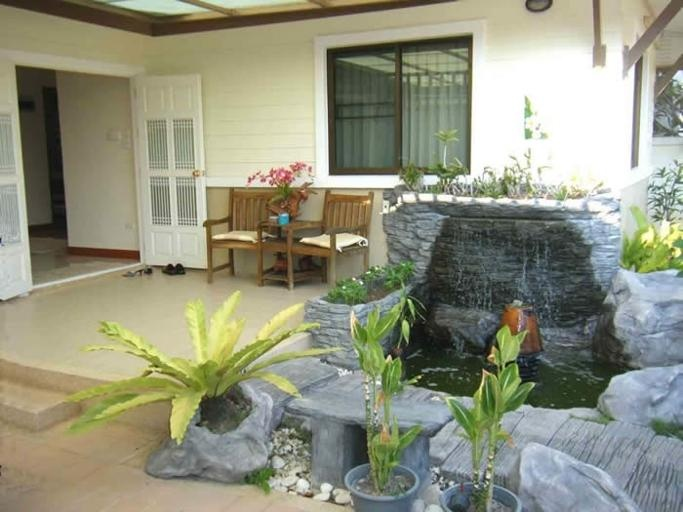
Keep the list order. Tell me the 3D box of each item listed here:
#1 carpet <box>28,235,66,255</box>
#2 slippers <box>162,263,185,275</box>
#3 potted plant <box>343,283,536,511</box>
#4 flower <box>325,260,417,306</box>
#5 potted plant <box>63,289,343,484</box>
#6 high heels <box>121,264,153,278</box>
[{"bbox_3d":[-5.290,-0.197,8.871,0.535,0.171,1.774,-6,8,-31],"label":"carpet"},{"bbox_3d":[-2.477,0.184,7.236,0.325,0.150,0.368,-4,8,-20],"label":"slippers"},{"bbox_3d":[0.621,0.678,2.886,1.296,1.452,0.734,3,13,20],"label":"potted plant"},{"bbox_3d":[0.351,0.197,5.260,0.369,0.266,1.171,2,12,29],"label":"flower"},{"bbox_3d":[-0.786,0.805,2.862,1.293,0.744,1.214,2,6,-6],"label":"potted plant"},{"bbox_3d":[-2.961,0.221,7.121,0.421,0.110,0.162,0,-1,-3],"label":"high heels"}]
